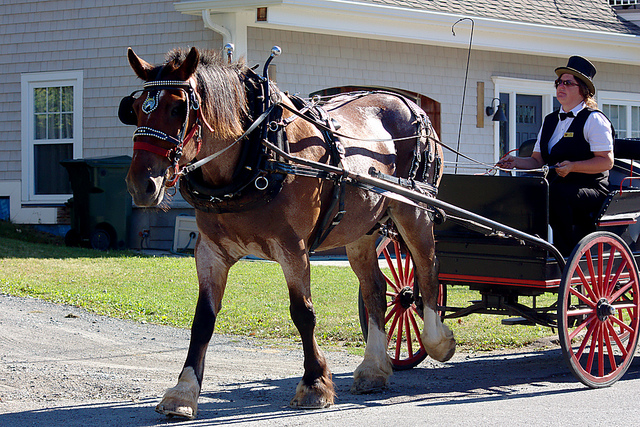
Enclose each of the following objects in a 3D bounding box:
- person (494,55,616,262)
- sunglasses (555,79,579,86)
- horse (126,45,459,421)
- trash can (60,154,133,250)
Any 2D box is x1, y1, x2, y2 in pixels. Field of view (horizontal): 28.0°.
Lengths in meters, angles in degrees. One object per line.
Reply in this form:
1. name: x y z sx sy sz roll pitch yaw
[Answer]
1. person: 3.337 -0.808 17.467 1.260 2.551 1.465 5 15 11
2. sunglasses: 3.342 -1.781 17.517 0.341 0.075 0.108 10 16 30
3. horse: -0.377 0.152 16.070 4.081 4.424 1.618 -5 17 -25
4. trash can: -4.130 -0.160 23.726 1.202 1.656 0.534 -1 16 -10
